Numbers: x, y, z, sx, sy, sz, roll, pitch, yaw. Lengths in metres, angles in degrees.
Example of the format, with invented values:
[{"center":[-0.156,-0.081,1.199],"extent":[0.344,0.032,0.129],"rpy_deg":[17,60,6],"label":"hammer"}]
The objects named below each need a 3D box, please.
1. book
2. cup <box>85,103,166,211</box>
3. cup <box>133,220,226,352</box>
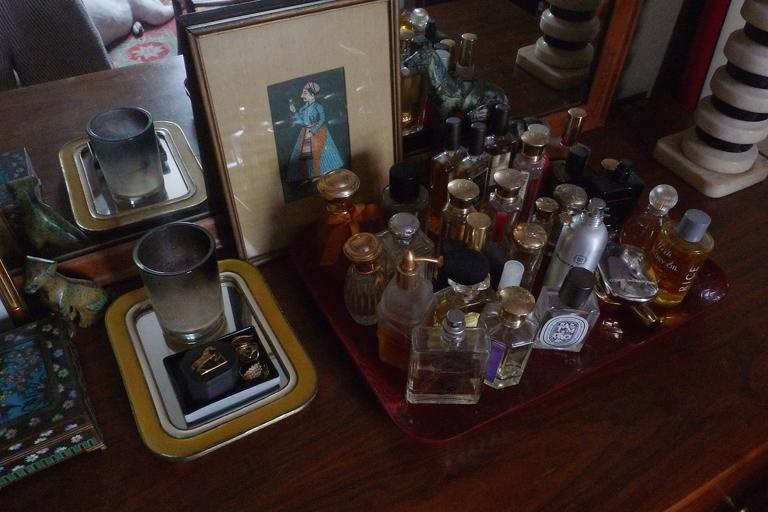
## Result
[{"center":[-0.260,0.177,0.871],"extent":[0.189,0.081,0.117],"rpy_deg":[-23,50,-18],"label":"book"},{"center":[-0.425,-0.169,0.920],"extent":[0.098,0.133,0.158],"rpy_deg":[-19,44,-25],"label":"cup"},{"center":[-0.340,0.055,0.909],"extent":[0.149,0.215,0.139],"rpy_deg":[1,52,-2],"label":"cup"}]
